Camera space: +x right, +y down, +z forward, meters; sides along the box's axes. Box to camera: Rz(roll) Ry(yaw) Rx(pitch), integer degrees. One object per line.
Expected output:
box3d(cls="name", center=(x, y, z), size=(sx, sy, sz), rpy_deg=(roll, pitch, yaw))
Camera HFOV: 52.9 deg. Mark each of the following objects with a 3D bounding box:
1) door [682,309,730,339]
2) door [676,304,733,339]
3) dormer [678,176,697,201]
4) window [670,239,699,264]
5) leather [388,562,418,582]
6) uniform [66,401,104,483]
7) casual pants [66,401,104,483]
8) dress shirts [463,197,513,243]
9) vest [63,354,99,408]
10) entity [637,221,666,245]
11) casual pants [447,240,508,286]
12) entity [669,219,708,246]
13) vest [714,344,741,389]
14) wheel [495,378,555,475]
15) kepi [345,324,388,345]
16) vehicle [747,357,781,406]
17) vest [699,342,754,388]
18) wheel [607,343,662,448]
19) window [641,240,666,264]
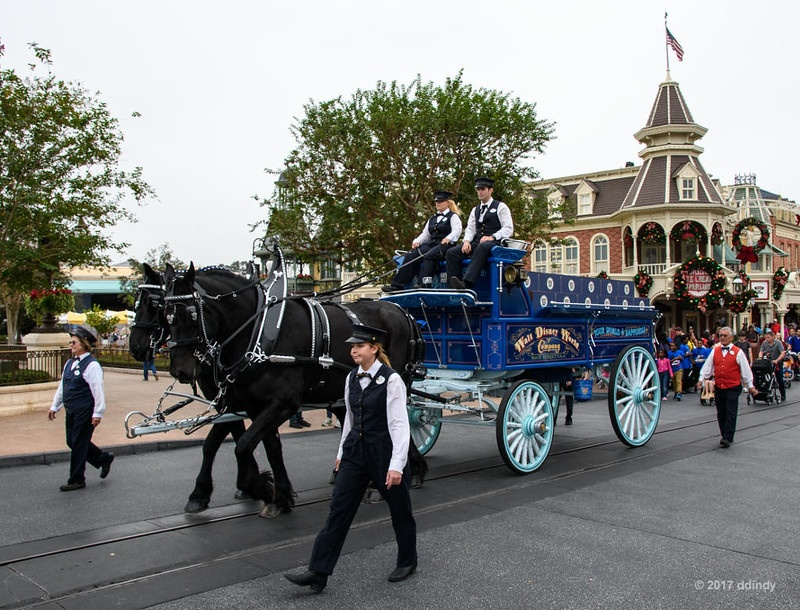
box3d(cls="door", center=(14.401, 0.885, 38.474), size=(1.751, 1.002, 0.910), rpy_deg=(-2, -5, 26))
box3d(cls="door", center=(14.082, 0.727, 37.827), size=(2.109, 1.680, 1.748), rpy_deg=(1, -4, 3))
box3d(cls="dormer", center=(14.707, -5.962, 41.201), size=(0.858, 1.134, 0.341), rpy_deg=(0, 4, 9))
box3d(cls="window", center=(14.509, -2.751, 41.296), size=(1.747, 1.686, 0.137), rpy_deg=(3, 2, -1))
box3d(cls="leather", center=(0.023, 2.780, 8.321), size=(0.327, 0.120, 0.117), rpy_deg=(7, -20, -38))
box3d(cls="uniform", center=(-4.498, 1.966, 11.539), size=(0.480, 1.047, 0.548), rpy_deg=(-1, 4, -5))
box3d(cls="casual pants", center=(-4.494, 1.965, 11.552), size=(0.489, 1.047, 0.573), rpy_deg=(-1, 4, -5))
box3d(cls="dress shirts", center=(1.431, -1.367, 13.031), size=(0.914, 0.703, 0.630), rpy_deg=(3, 11, 42))
box3d(cls="vest", center=(-4.583, 1.105, 11.563), size=(0.570, 0.772, 0.393), rpy_deg=(0, 4, 5))
box3d(cls="entity", center=(12.869, -3.565, 41.252), size=(1.038, 1.117, 0.993), rpy_deg=(15, -19, -33))
box3d(cls="casual pants", center=(1.065, -0.546, 12.153), size=(0.708, 0.713, 0.844), rpy_deg=(22, -12, -36))
box3d(cls="entity", center=(14.632, -3.701, 40.929), size=(1.292, 0.724, 1.301), rpy_deg=(0, 0, 39))
box3d(cls="vest", center=(5.715, 1.102, 14.185), size=(0.482, 0.740, 0.344), rpy_deg=(2, 5, 33))
box3d(cls="wheel", center=(1.849, 1.835, 12.067), size=(1.442, 1.258, 0.461), rpy_deg=(-10, 2, -44))
box3d(cls="kepi", center=(-0.338, 0.315, 8.401), size=(0.309, 0.115, 0.246), rpy_deg=(3, -7, -42))
box3d(cls="vehicle", center=(9.427, 1.997, 21.044), size=(0.765, 1.131, 0.988), rpy_deg=(-4, -11, 34))
box3d(cls="vest", center=(5.781, 1.082, 14.253), size=(0.480, 0.743, 1.030), rpy_deg=(-9, 6, -42))
box3d(cls="wheel", center=(4.045, 1.582, 13.996), size=(0.743, 1.679, 1.936), rpy_deg=(-6, -8, 44))
box3d(cls="window", center=(13.284, -2.825, 42.336), size=(1.444, 1.463, 0.132), rpy_deg=(-1, -1, 38))
